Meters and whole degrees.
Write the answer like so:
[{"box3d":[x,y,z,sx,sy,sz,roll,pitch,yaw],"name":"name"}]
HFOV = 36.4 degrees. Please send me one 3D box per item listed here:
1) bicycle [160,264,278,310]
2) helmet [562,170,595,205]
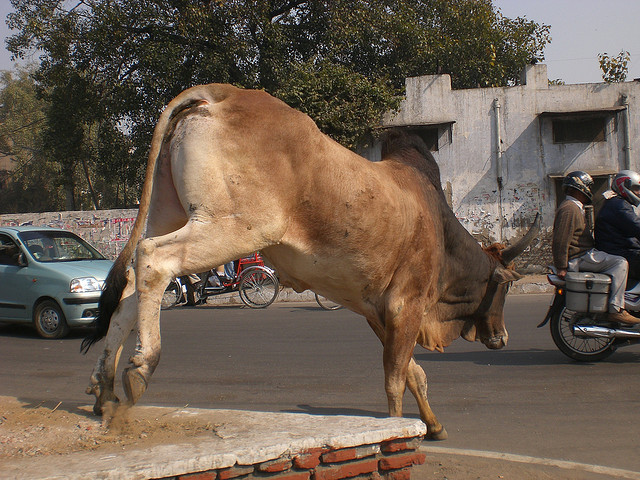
[{"box3d":[-2.367,1.229,23.218,2.508,1.436,1.240,0,1,12],"name":"bicycle"},{"box3d":[4.727,-1.002,17.734,0.631,0.552,0.477,-3,7,-24],"name":"helmet"}]
